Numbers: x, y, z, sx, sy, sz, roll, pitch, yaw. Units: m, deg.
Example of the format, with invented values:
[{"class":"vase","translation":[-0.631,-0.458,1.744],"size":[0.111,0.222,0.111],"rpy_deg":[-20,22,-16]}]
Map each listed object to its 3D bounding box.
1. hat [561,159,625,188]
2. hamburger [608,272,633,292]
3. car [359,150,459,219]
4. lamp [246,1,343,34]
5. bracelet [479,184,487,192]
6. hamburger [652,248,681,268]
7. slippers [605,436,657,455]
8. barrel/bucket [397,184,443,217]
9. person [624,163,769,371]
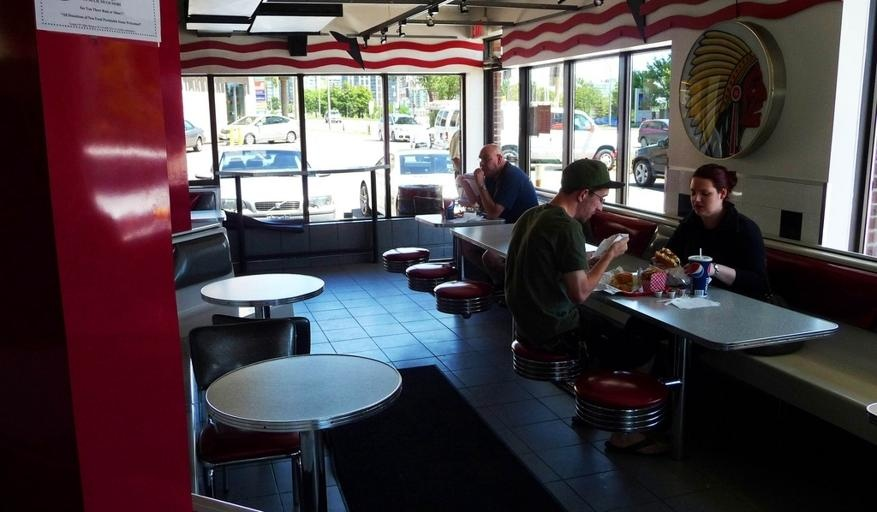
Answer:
[{"class":"hat","translation":[1.043,-0.567,4.217],"size":[0.310,0.139,0.198],"rpy_deg":[-2,12,-2]},{"class":"hamburger","translation":[1.305,0.174,4.304],"size":[0.122,0.048,0.142],"rpy_deg":[11,30,28]},{"class":"car","translation":[-0.464,-1.241,10.109],"size":[0.972,0.746,1.605],"rpy_deg":[-6,20,-16]},{"class":"lamp","translation":[-1.874,-3.145,7.966],"size":[1.091,0.246,1.599],"rpy_deg":[-5,16,-17]},{"class":"bracelet","translation":[0.496,-0.738,6.638],"size":[0.080,0.074,0.050],"rpy_deg":[12,4,-20]},{"class":"hamburger","translation":[1.628,0.020,4.356],"size":[0.151,0.057,0.154],"rpy_deg":[14,12,36]},{"class":"slippers","translation":[1.425,1.406,4.501],"size":[0.361,0.088,0.135],"rpy_deg":[-1,10,18]},{"class":"barrel/bucket","translation":[-0.276,-0.951,10.117],"size":[0.874,0.689,0.511],"rpy_deg":[-1,9,-6]},{"class":"person","translation":[2.032,0.122,4.652],"size":[0.885,1.520,0.859],"rpy_deg":[-9,11,-34]}]
